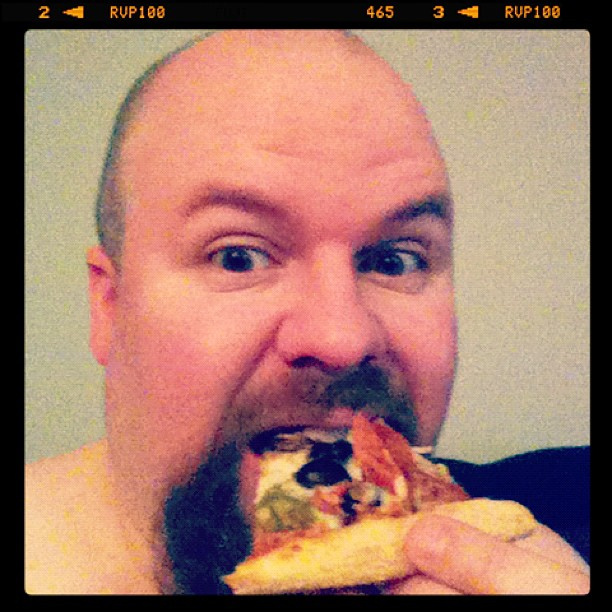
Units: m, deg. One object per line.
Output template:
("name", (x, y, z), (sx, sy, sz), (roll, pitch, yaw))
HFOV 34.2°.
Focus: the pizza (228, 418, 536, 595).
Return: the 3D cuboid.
("pizza", (0.265, 0.646, 3.779), (1.035, 0.326, 0.824), (-8, 24, 29))
